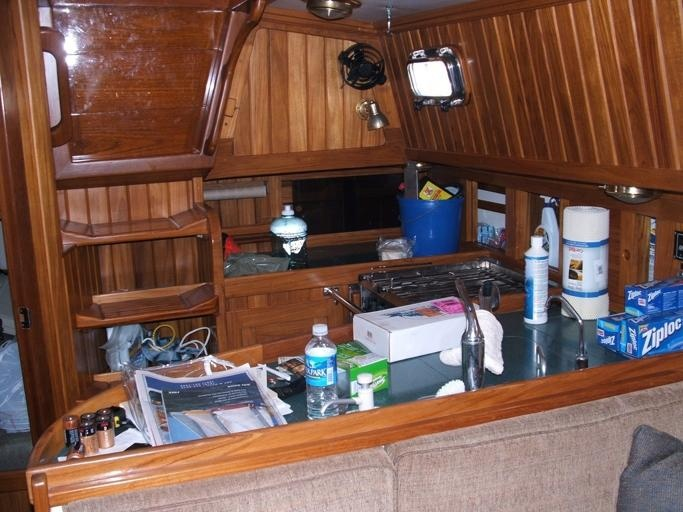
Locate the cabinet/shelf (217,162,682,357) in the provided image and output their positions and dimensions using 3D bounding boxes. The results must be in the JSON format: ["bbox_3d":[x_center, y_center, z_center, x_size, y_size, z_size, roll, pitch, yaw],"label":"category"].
[{"bbox_3d":[0.282,0.077,2.481,1.341,0.686,1.239,-8,17,-21],"label":"cabinet/shelf"}]

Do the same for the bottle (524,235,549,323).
[{"bbox_3d":[0.715,0.092,2.043,0.108,0.324,0.216,-6,4,16],"label":"bottle"}]

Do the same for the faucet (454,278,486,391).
[{"bbox_3d":[0.357,0.241,1.570,0.097,0.277,0.066,4,-8,-3],"label":"faucet"}]

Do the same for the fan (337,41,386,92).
[{"bbox_3d":[0.120,-0.996,2.889,0.272,0.233,0.070,4,-14,13],"label":"fan"}]
